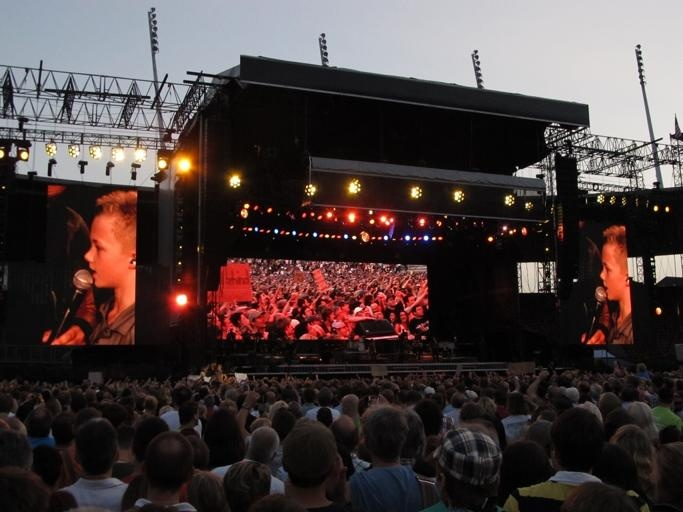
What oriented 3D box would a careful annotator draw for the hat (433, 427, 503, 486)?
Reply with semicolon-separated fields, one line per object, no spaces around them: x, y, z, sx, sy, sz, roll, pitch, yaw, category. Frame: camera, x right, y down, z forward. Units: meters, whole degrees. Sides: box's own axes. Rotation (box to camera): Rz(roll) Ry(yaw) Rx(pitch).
1.097;1.671;6.366;0.557;0.368;0.755;3;14;-12;hat
